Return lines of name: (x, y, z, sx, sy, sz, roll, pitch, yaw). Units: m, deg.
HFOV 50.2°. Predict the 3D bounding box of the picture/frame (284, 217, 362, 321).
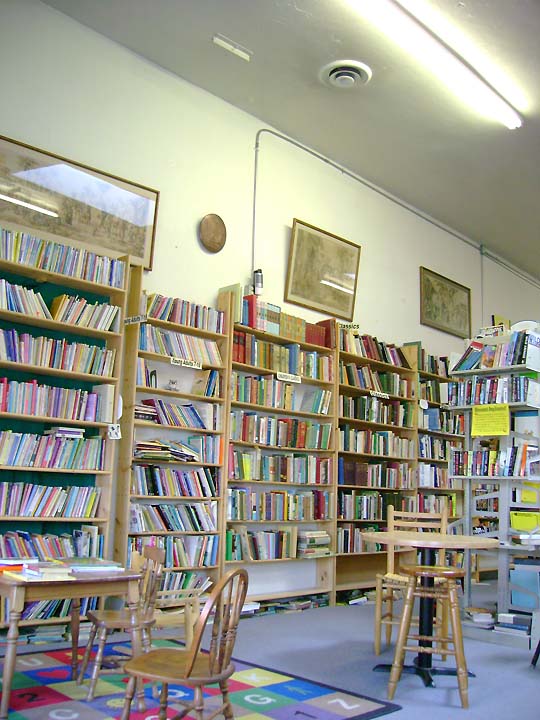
picture/frame: (0.523, -0.951, 6.107, 0.075, 0.901, 1.145, -4, -15, 45)
